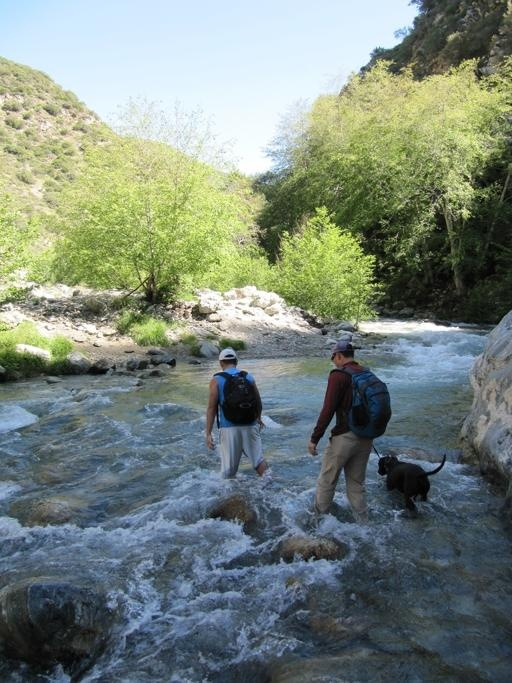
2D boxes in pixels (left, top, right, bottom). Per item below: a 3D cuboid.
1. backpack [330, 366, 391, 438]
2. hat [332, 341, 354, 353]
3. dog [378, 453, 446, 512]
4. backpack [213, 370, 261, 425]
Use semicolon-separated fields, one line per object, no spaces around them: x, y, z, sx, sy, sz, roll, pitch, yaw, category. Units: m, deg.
0.971;0.532;4.695;0.451;0.596;0.450;-5;2;20;backpack
1.161;0.059;7.169;0.414;0.154;0.423;-1;-1;8;hat
1.526;1.402;5.437;0.294;0.493;0.948;5;-4;-16;dog
-0.193;0.594;5.704;0.354;0.555;0.428;-13;-9;42;backpack
